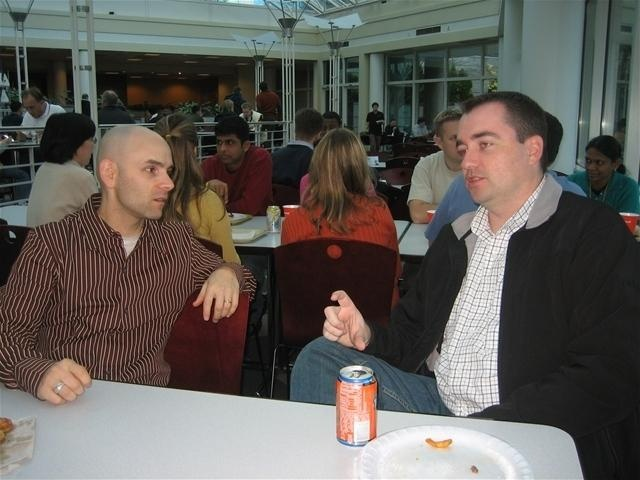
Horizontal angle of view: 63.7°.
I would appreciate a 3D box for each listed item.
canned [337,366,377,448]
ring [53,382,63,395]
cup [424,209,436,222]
[{"bbox_3d":[0.076,0.343,1.064,0.082,0.138,0.086,0,13,2],"label":"canned"},{"bbox_3d":[-0.606,0.345,1.197,0.021,0.021,0.021,-51,5,6],"label":"ring"},{"bbox_3d":[0.683,-0.143,3.203,0.096,0.077,0.097,1,14,0],"label":"cup"}]
